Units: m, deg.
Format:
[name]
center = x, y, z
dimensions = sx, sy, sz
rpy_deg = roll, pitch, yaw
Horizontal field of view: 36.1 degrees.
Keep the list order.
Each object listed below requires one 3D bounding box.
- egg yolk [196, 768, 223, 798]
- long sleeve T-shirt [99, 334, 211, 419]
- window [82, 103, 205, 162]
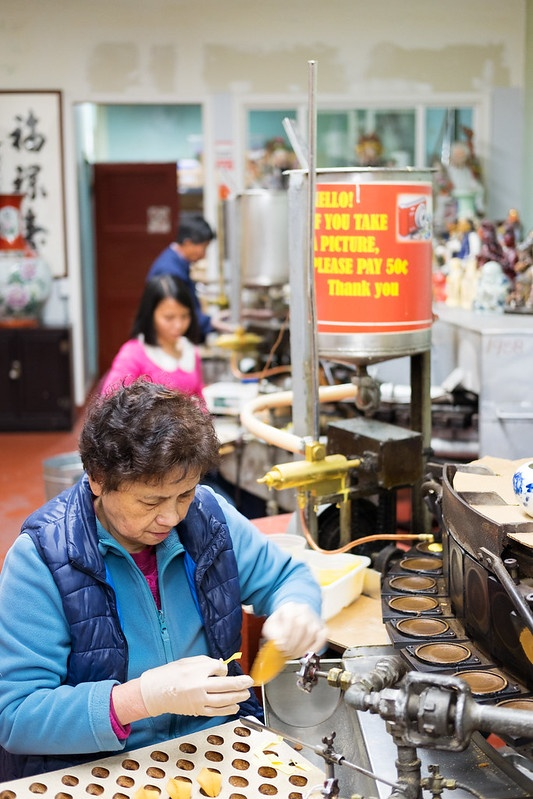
[egg yolk]
center = -0.071, 0.490, 1.045
dimensions = 0.026, 0.032, 0.026
rpy_deg = -31, -16, 25
[long sleeve T-shirt]
center = -0.371, -0.136, 3.015
dimensions = 0.470, 0.222, 0.133
rpy_deg = -3, -3, -4
[window]
center = -1.210, -2.606, 7.959
dimensions = 1.164, 0.574, 0.629
rpy_deg = -1, 8, 14
